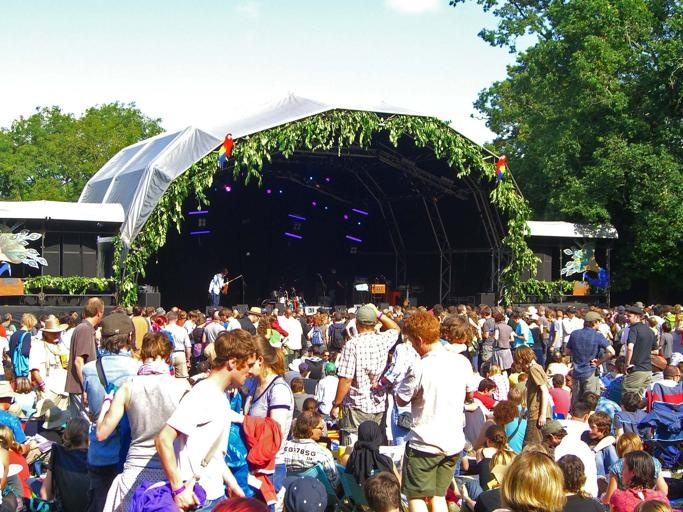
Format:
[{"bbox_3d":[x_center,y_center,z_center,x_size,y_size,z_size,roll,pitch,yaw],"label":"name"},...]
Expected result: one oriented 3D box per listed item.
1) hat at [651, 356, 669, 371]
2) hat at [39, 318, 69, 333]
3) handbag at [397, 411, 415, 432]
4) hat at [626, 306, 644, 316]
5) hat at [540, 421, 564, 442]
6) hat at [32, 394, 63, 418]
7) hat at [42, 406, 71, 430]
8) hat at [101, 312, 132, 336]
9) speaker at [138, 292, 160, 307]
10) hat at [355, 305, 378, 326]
[{"bbox_3d":[5.439,1.798,14.140,0.284,0.321,0.236,-8,1,19],"label":"hat"},{"bbox_3d":[-4.742,1.137,13.532,0.397,0.196,0.444,-2,-2,-40],"label":"hat"},{"bbox_3d":[0.819,2.115,10.468,0.227,0.139,0.301,2,7,-1],"label":"handbag"},{"bbox_3d":[4.954,0.915,14.020,0.250,0.091,0.255,2,1,-30],"label":"hat"},{"bbox_3d":[2.664,2.188,10.405,0.244,0.162,0.184,-7,5,-29],"label":"hat"},{"bbox_3d":[-4.633,2.351,13.102,0.505,0.191,0.563,-18,2,-1],"label":"hat"},{"bbox_3d":[-3.888,2.234,11.466,0.416,0.193,0.458,0,20,10],"label":"hat"},{"bbox_3d":[-2.626,0.802,9.742,0.355,0.276,0.244,2,-4,-19],"label":"hat"},{"bbox_3d":[-5.113,1.151,22.193,0.448,0.516,0.440,0,1,-42],"label":"speaker"},{"bbox_3d":[0.344,0.756,10.857,0.267,0.268,0.440,0,-4,1],"label":"hat"}]
